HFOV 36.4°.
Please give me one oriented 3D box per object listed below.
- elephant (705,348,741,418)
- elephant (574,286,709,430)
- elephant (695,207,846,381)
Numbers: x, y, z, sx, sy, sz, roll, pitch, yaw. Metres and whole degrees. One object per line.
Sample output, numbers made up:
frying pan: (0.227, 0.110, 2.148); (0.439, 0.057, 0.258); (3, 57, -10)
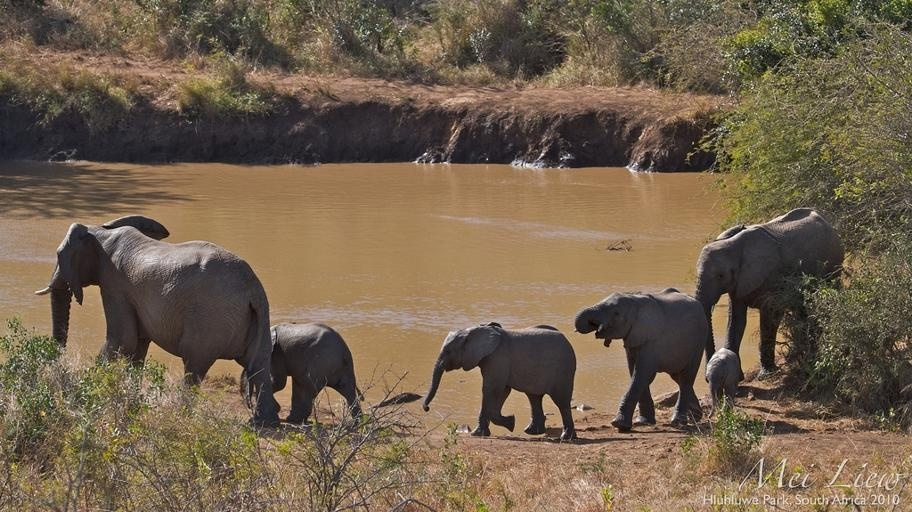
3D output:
elephant: (5.433, 2.548, 28.607); (0.666, 1.208, 1.042); (3, 3, 11)
elephant: (3.868, 2.182, 29.295); (3.709, 3.023, 1.443); (6, -3, -35)
elephant: (6.651, 0.685, 30.786); (4.149, 3.068, 1.971); (-14, 18, -31)
